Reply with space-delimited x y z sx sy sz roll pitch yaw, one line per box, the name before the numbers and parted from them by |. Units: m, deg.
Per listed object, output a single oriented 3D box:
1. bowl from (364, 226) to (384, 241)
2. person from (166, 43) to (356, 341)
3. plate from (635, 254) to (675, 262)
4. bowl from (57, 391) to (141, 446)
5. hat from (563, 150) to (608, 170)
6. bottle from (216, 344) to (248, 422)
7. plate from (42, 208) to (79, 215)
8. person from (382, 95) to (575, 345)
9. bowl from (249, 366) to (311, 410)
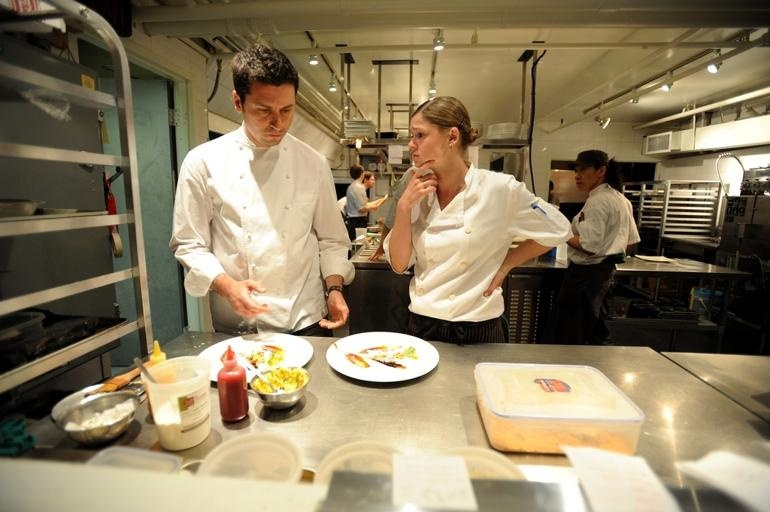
bowl | -0.149 -0.307 6.293 0.179 0.132 0.269 1 4 0
person | -0.650 -0.104 2.755 1.053 1.871 1.000 -2 19 -12
plate | 2.729 0.027 5.049 0.342 0.016 0.362 4 11 23
bowl | -1.187 0.661 2.050 0.283 0.116 0.286 14 6 -2
hat | 1.926 -0.892 4.700 0.279 0.145 0.207 6 13 16
bottle | -0.662 0.544 2.180 0.126 0.345 0.087 -4 11 -17
plate | -1.550 -0.220 2.376 0.144 0.026 0.314 -8 12 -36
person | 0.489 -0.198 2.854 0.974 1.428 0.471 -1 11 -1
bowl | -0.440 0.612 2.265 0.210 0.093 0.205 -6 6 1
